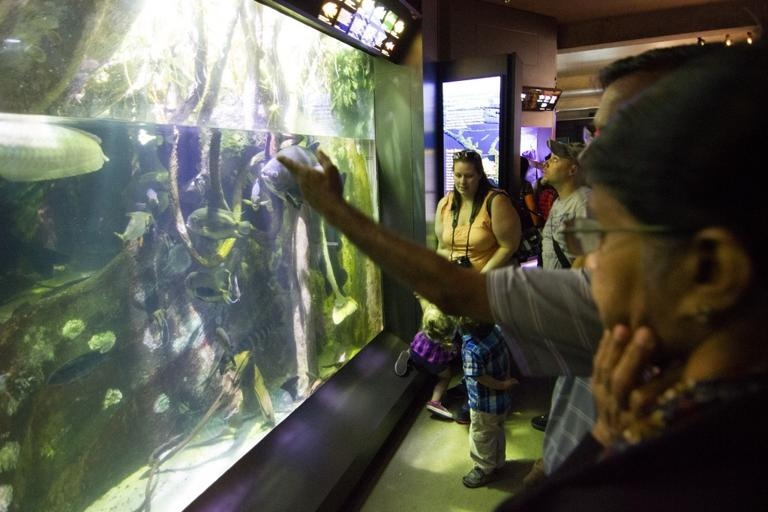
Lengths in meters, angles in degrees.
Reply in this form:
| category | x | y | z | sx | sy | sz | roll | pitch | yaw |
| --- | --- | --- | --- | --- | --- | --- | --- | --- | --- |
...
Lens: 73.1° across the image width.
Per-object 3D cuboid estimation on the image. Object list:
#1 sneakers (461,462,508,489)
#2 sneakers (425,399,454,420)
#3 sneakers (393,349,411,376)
| category | x | y | z | sx | sy | sz | roll | pitch | yaw |
| --- | --- | --- | --- | --- | --- | --- | --- | --- | --- |
| sneakers | 0.619 | 1.322 | 3.175 | 0.269 | 0.124 | 0.100 | -3 | 6 | -22 |
| sneakers | 0.407 | 1.128 | 3.840 | 0.238 | 0.080 | 0.104 | 26 | 60 | 36 |
| sneakers | 0.159 | 0.808 | 3.888 | 0.121 | 0.048 | 0.204 | -1 | 56 | 18 |
